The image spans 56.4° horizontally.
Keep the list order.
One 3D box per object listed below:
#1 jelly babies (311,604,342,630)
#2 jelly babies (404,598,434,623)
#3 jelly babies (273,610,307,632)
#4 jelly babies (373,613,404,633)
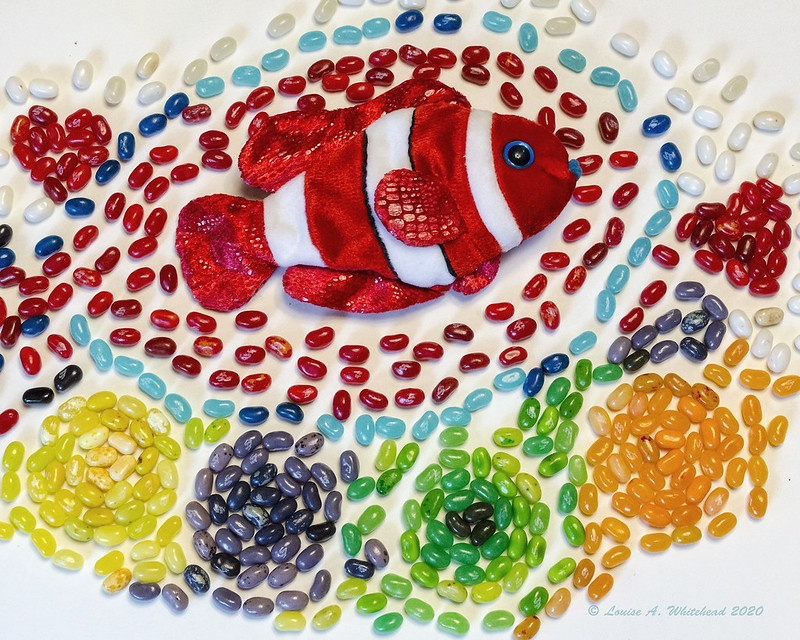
[{"bbox_3d":[-0.202,0.811,2.037,0.073,0.024,0.058,-24,82,-1],"label":"jelly babies"},{"bbox_3d":[0.051,0.794,2.036,0.070,0.037,0.058,28,64,12],"label":"jelly babies"},{"bbox_3d":[-0.298,0.824,2.028,0.046,0.075,0.045,24,58,-28],"label":"jelly babies"},{"bbox_3d":[-0.036,0.827,2.034,0.066,0.021,0.054,-14,94,-3],"label":"jelly babies"}]
